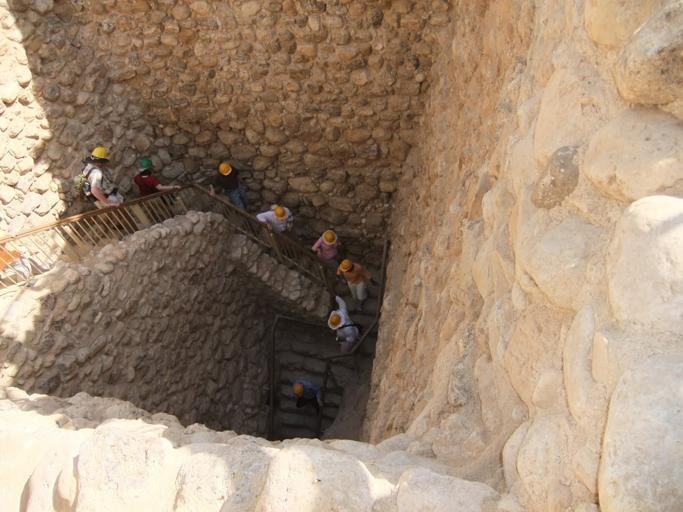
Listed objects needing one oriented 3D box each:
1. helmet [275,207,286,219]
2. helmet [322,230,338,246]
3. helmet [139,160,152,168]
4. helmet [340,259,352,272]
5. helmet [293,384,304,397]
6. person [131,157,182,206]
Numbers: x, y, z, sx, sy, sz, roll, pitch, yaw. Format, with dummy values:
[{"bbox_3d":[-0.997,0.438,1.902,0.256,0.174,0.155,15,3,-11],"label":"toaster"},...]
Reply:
[{"bbox_3d":[-0.655,-0.471,8.701,0.100,0.127,0.119,-2,11,-3],"label":"helmet"},{"bbox_3d":[-0.118,-0.206,8.878,0.158,0.136,0.129,-36,3,-29],"label":"helmet"},{"bbox_3d":[-2.029,-0.972,8.380,0.113,0.090,0.092,-3,12,11],"label":"helmet"},{"bbox_3d":[0.063,0.115,8.594,0.136,0.101,0.134,-54,4,-10],"label":"helmet"},{"bbox_3d":[-0.478,1.462,8.782,0.099,0.146,0.140,-4,-1,11],"label":"helmet"},{"bbox_3d":[-1.913,-0.773,8.334,0.380,0.524,0.898,-28,18,-14],"label":"person"}]
